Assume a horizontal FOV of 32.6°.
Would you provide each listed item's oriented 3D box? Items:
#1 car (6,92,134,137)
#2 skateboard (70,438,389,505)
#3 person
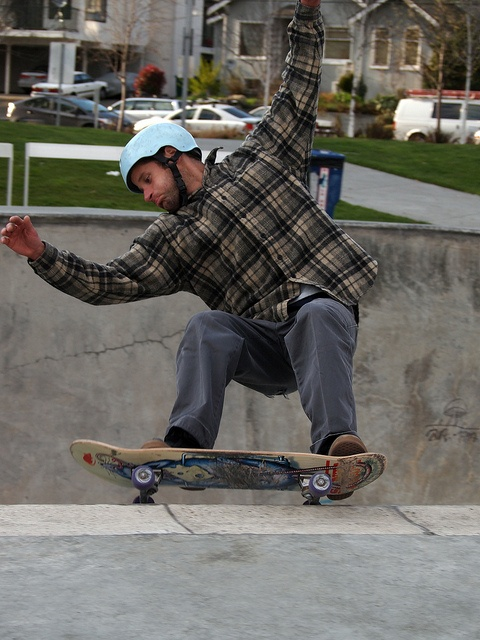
[{"bbox_3d":[-3.314,-3.940,15.743,2.534,0.686,1.017,2,18,0],"label":"car"},{"bbox_3d":[-0.042,0.507,2.748,1.295,0.177,0.327,1,-34,0],"label":"skateboard"},{"bbox_3d":[-0.064,-0.341,3.041,1.252,1.864,1.042,5,10,9],"label":"person"}]
